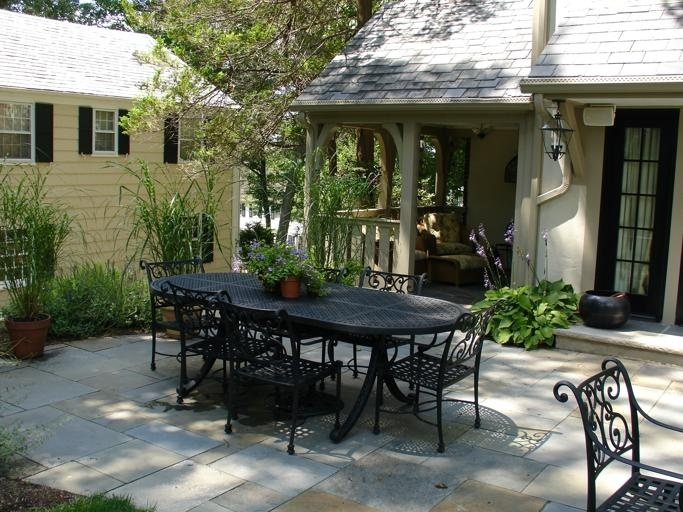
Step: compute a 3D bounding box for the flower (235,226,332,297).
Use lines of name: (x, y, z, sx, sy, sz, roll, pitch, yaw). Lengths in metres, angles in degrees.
flower: (-0.549, 0.138, 5.434, 0.585, 0.344, 0.600, -5, -3, -19)

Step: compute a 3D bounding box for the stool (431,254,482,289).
stool: (2.073, 0.192, 10.150, 0.658, 0.362, 0.825, -4, 6, -37)

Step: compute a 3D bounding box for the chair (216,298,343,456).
chair: (-0.506, 0.900, 4.831, 0.963, 1.032, 0.851, -4, 8, -42)

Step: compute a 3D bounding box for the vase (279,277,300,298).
vase: (-0.466, 0.290, 5.251, 0.216, 0.134, 0.206, 3, 4, 31)

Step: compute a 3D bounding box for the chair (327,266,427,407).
chair: (0.474, 0.580, 6.337, 0.903, 0.889, 0.834, 4, 3, -32)

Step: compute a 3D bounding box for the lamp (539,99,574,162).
lamp: (2.659, -1.552, 7.071, 0.515, 0.752, 0.426, 3, 1, 0)
